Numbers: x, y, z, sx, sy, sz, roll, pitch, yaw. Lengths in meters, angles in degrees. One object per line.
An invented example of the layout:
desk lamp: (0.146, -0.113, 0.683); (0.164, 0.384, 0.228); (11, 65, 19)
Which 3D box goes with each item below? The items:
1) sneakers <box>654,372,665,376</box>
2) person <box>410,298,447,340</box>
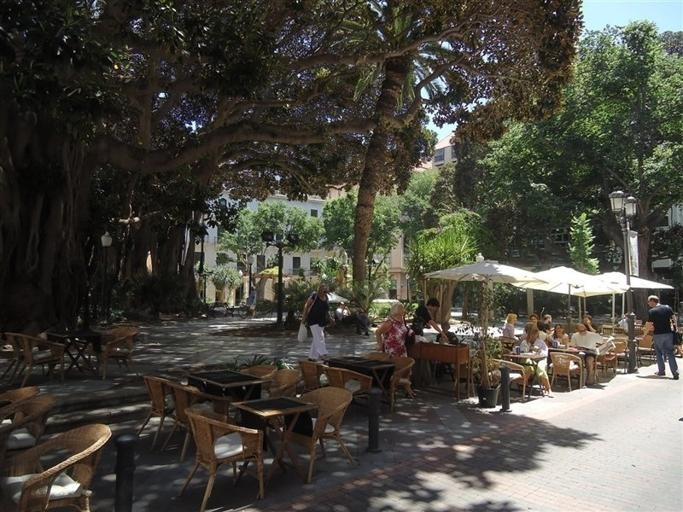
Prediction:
sneakers: (8.792, 3.306, 15.552); (0.265, 0.116, 0.101); (-2, -5, 41)
person: (1.985, 1.492, 13.486); (0.623, 0.883, 0.857); (-1, -9, 12)
